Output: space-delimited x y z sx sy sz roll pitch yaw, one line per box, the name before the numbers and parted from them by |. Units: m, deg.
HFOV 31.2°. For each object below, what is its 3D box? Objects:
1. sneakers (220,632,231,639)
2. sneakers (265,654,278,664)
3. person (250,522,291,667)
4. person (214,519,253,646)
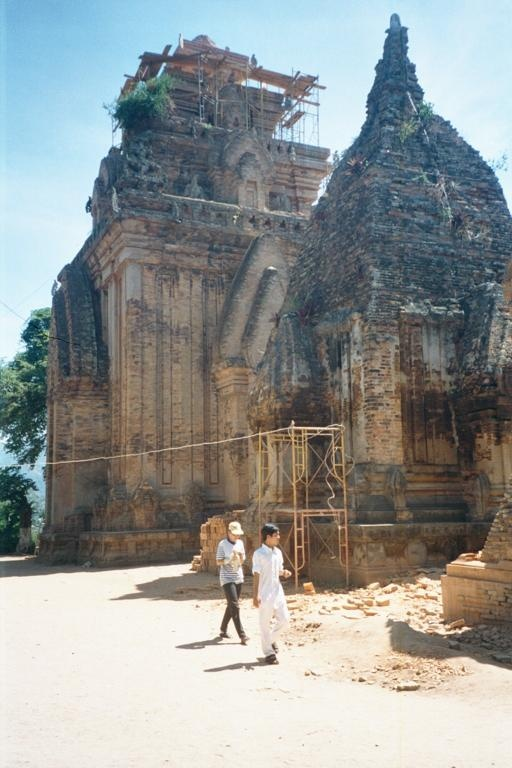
sneakers | -0.310 2.483 9.021 0.124 0.049 0.040 0 -6 4
sneakers | 0.122 2.356 7.833 0.109 0.068 0.125 -3 -5 0
person | 0.130 1.845 8.173 0.329 1.152 0.649 -3 -6 0
person | -0.258 1.962 9.169 0.290 1.144 0.943 -3 -6 -2
